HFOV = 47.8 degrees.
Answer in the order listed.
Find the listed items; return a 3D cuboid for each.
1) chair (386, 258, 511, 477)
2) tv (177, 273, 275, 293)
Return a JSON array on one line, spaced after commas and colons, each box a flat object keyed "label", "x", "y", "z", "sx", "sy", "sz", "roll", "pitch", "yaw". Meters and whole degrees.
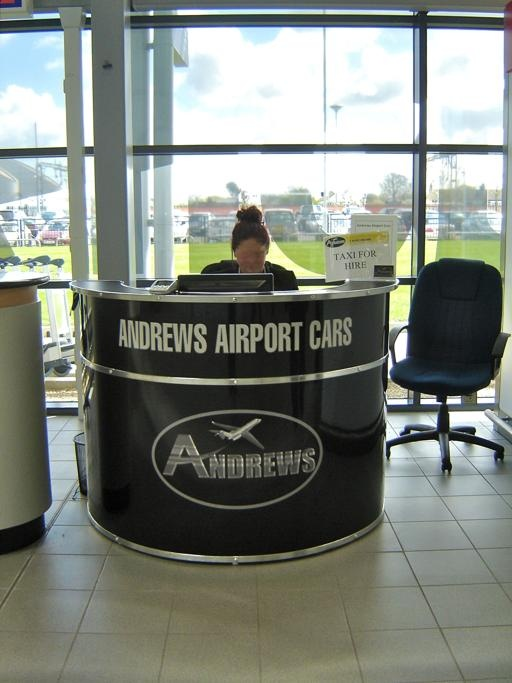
[{"label": "chair", "x": 1.132, "y": 0.099, "z": 3.425, "sx": 0.690, "sy": 1.169, "sz": 0.730, "roll": 1, "pitch": 7, "yaw": 12}, {"label": "tv", "x": -0.123, "y": -0.223, "z": 2.199, "sx": 0.358, "sy": 0.065, "sz": 0.135, "roll": -2, "pitch": 7, "yaw": -11}]
